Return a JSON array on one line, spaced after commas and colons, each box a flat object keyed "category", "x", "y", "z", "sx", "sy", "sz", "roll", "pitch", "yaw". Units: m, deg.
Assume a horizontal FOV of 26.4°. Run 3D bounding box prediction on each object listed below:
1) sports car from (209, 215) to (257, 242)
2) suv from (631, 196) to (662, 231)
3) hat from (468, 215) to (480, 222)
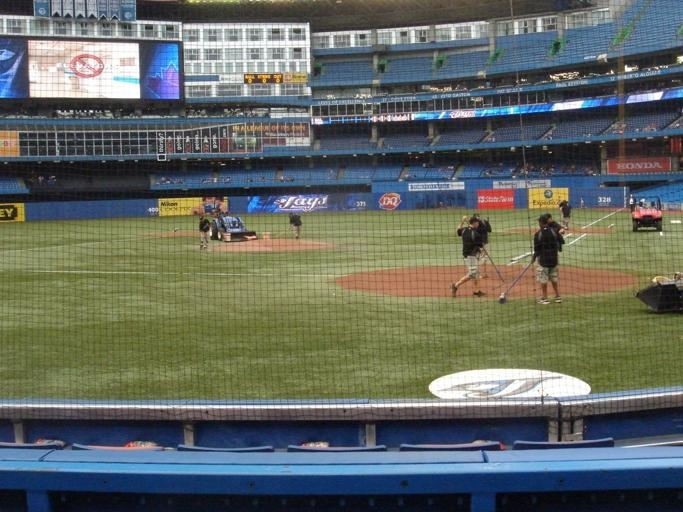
[{"category": "sports car", "x": -8.416, "y": -1.979, "z": 106.126, "sx": 1.875, "sy": 1.186, "sz": 2.986, "roll": 0, "pitch": 4, "yaw": -30}, {"category": "suv", "x": 21.697, "y": -2.835, "z": 103.570, "sx": 1.731, "sy": 1.504, "sz": 3.020, "roll": -1, "pitch": -3, "yaw": 16}, {"category": "hat", "x": 8.243, "y": -2.301, "z": 91.521, "sx": 0.541, "sy": 0.504, "sz": 0.625, "roll": 3, "pitch": 13, "yaw": 19}]
